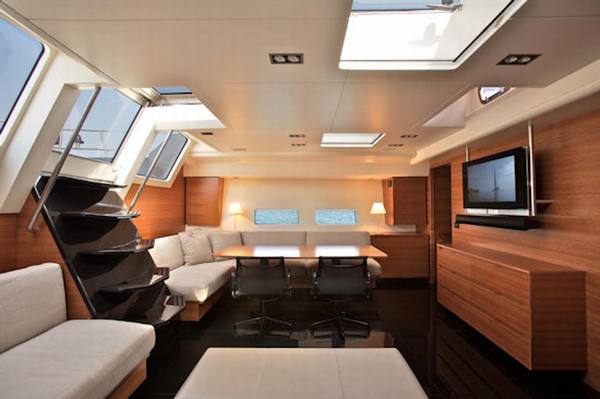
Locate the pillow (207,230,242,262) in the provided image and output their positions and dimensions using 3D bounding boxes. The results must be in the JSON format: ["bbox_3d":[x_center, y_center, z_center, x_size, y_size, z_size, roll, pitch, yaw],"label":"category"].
[{"bbox_3d":[-1.369,0.843,6.620,0.179,0.296,0.514,-9,3,44],"label":"pillow"}]

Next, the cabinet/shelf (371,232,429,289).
[{"bbox_3d":[1.991,1.108,7.811,1.794,1.172,0.903,0,-3,0],"label":"cabinet/shelf"}]

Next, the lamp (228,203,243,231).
[{"bbox_3d":[-1.380,0.358,7.935,0.302,0.639,0.496,-2,14,-10],"label":"lamp"}]

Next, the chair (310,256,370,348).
[{"bbox_3d":[0.549,1.384,5.298,0.922,0.944,0.766,3,-14,-4],"label":"chair"}]

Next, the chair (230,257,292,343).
[{"bbox_3d":[-0.527,1.308,5.204,0.929,0.913,0.802,1,-18,-7],"label":"chair"}]

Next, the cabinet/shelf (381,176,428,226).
[{"bbox_3d":[2.560,-0.018,7.879,1.025,1.036,1.008,-1,1,24],"label":"cabinet/shelf"}]
